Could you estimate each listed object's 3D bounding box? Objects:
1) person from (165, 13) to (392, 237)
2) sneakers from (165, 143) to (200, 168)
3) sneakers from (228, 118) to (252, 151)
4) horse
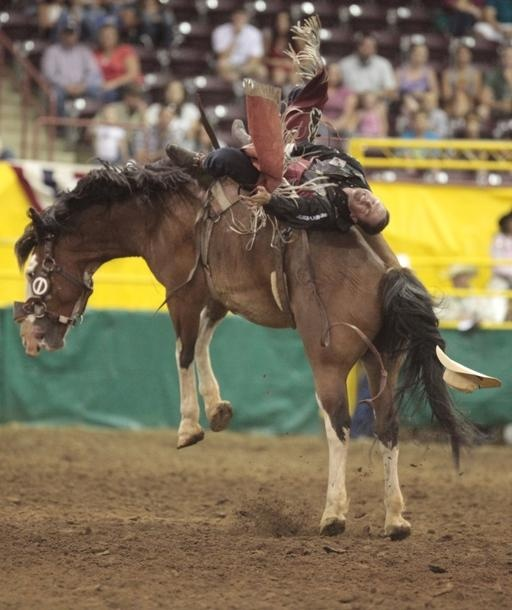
[{"bbox_3d":[0.232,-1.071,6.076,1.005,1.305,0.680,-1,7,-15],"label":"person"},{"bbox_3d":[-0.513,-0.934,6.507,0.310,0.085,0.125,19,4,24],"label":"sneakers"},{"bbox_3d":[-0.118,-1.037,6.358,0.166,0.235,0.066,25,-55,-31],"label":"sneakers"},{"bbox_3d":[-0.002,0.221,6.707,4.552,2.200,1.028,12,7,38],"label":"horse"}]
